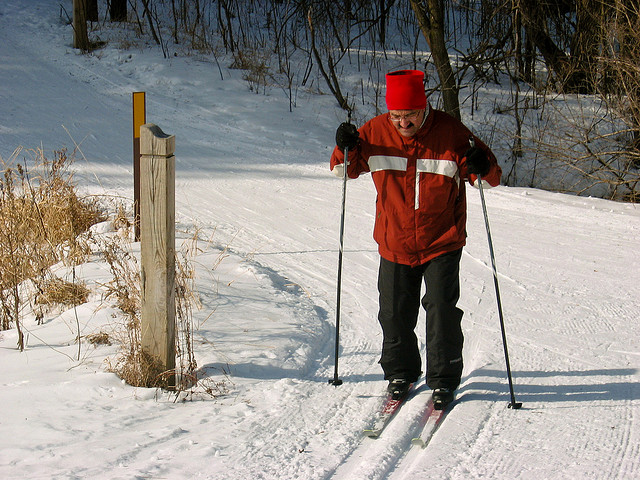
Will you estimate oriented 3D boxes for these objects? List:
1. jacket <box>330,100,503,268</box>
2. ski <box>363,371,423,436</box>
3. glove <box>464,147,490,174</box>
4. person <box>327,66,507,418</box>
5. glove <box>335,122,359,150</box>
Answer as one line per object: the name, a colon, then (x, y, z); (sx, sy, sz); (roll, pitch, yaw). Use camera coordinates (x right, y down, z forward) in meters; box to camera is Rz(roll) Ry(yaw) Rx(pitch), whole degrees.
jacket: (0.832, -0.433, 6.052); (1.442, 1.340, 0.748); (3, 1, 10)
ski: (0.649, 1.415, 5.993); (0.118, 0.130, 1.155); (0, 31, 29)
glove: (1.298, -0.642, 5.833); (0.156, 0.218, 0.097); (-30, -21, -6)
person: (0.832, 0.008, 6.083); (1.279, 2.875, 0.533); (1, 9, 22)
glove: (0.233, -0.899, 6.170); (0.153, 0.231, 0.113); (-1, 9, -7)
